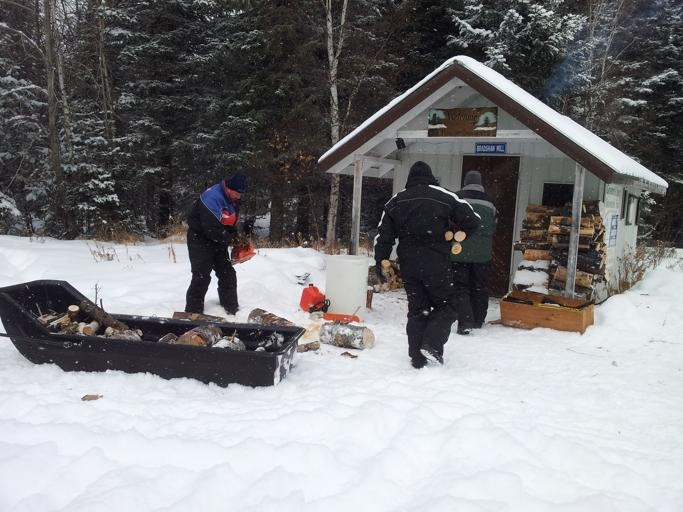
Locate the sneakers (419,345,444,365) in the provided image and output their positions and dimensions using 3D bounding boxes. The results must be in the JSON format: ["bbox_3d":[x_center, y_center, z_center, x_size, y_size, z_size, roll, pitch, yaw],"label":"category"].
[{"bbox_3d":[1.388,1.550,10.086,0.398,0.182,0.212,41,-40,-18],"label":"sneakers"}]

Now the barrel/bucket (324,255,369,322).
[{"bbox_3d":[0.097,0.585,12.242,0.776,1.172,0.371,1,6,-1],"label":"barrel/bucket"}]

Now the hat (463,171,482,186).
[{"bbox_3d":[2.415,-1.432,12.241,0.302,0.407,0.416,2,16,5],"label":"hat"}]

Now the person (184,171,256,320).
[{"bbox_3d":[-2.202,-0.183,11.482,1.029,2.515,0.774,-1,6,-21],"label":"person"}]

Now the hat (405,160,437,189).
[{"bbox_3d":[1.268,-1.286,10.437,0.335,0.328,0.477,-1,9,12],"label":"hat"}]

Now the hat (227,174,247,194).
[{"bbox_3d":[-1.786,-1.208,11.298,0.260,0.282,0.336,5,31,-25],"label":"hat"}]
